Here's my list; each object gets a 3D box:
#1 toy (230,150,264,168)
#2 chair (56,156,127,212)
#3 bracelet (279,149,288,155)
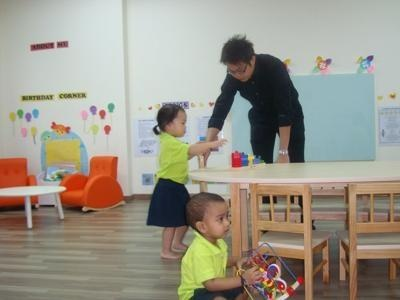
[{"bbox_3d":[0.447,0.082,3.649,0.114,0.162,0.431,4,5,40],"label":"toy"},{"bbox_3d":[-1.836,0.553,6.235,0.813,0.824,0.897,2,3,40],"label":"chair"},{"bbox_3d":[1.328,0.043,5.958,0.130,0.078,0.055,-1,7,4],"label":"bracelet"}]
